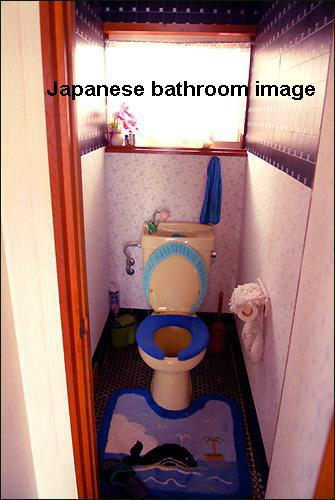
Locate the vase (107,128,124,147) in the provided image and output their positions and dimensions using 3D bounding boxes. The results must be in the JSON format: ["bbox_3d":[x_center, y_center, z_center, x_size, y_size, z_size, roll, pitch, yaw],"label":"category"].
[{"bbox_3d":[-0.336,-0.737,2.330,0.097,0.116,0.063,-2,13,-11],"label":"vase"}]

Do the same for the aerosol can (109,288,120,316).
[{"bbox_3d":[-0.397,0.405,2.674,0.075,0.214,0.104,-2,13,-11],"label":"aerosol can"}]

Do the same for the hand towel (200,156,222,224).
[{"bbox_3d":[0.300,-0.398,2.380,0.142,0.451,0.099,1,12,3],"label":"hand towel"}]

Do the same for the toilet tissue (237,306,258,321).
[{"bbox_3d":[0.385,0.303,1.676,0.100,0.090,0.039,-3,13,-15],"label":"toilet tissue"}]

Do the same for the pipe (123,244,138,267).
[{"bbox_3d":[-0.270,0.029,2.597,0.098,0.256,0.025,-4,25,-6],"label":"pipe"}]

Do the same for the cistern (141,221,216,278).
[{"bbox_3d":[0.085,-0.033,2.356,0.506,0.258,0.435,2,16,1],"label":"cistern"}]

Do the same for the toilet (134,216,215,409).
[{"bbox_3d":[0.004,0.329,2.232,0.571,0.945,0.920,3,15,9],"label":"toilet"}]
